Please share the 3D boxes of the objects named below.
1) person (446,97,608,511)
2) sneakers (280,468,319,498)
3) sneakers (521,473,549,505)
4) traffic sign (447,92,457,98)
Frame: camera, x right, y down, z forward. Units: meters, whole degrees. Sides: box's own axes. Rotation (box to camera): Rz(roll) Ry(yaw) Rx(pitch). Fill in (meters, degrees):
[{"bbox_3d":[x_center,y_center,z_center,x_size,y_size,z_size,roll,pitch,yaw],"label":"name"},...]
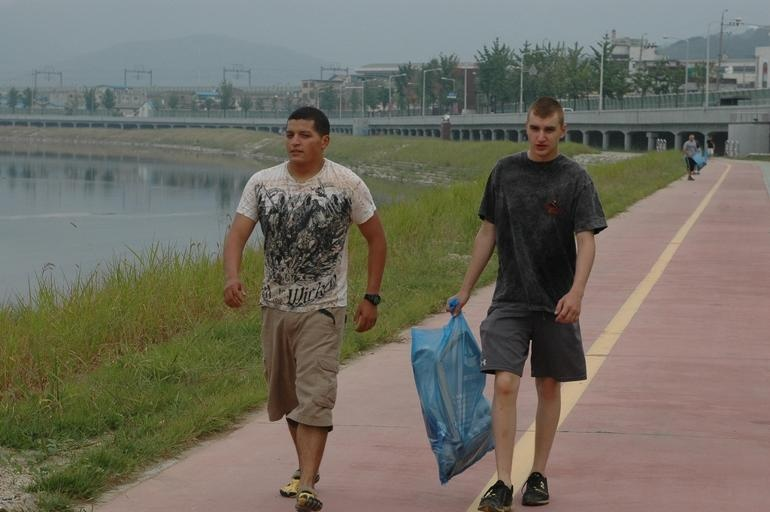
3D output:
[{"bbox_3d":[1.106,0.320,6.752,1.098,3.017,1.074,-2,7,2],"label":"person"},{"bbox_3d":[-0.681,1.755,6.986,0.127,0.174,0.386,-1,4,13],"label":"sneakers"},{"bbox_3d":[1.134,1.732,6.732,0.218,0.235,0.219,-2,8,7],"label":"sneakers"},{"bbox_3d":[10.035,-24.604,135.132,1.237,0.327,1.340,0,22,10],"label":"traffic sign"}]
